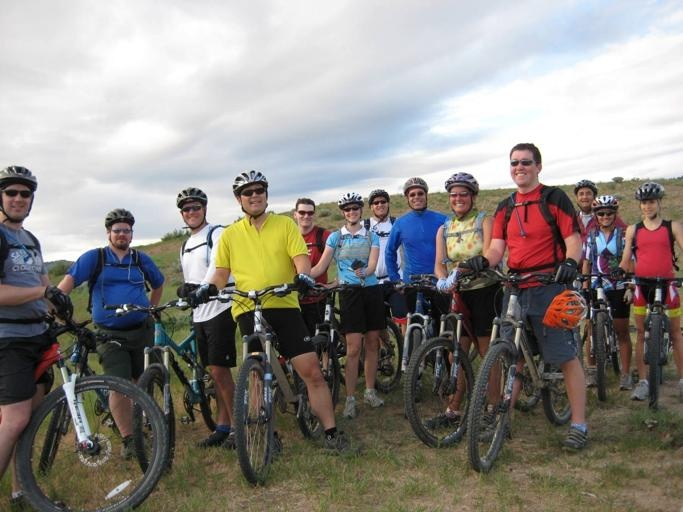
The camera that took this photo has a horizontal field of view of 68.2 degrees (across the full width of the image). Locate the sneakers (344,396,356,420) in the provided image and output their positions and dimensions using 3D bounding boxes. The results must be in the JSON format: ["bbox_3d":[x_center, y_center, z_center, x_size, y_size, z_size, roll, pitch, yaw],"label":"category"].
[{"bbox_3d":[0.133,2.415,8.006,0.131,0.411,0.177,-2,-10,-5],"label":"sneakers"}]

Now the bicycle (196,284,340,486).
[{"bbox_3d":[-1.024,1.492,5.998,0.803,2.295,0.871,-4,3,-25],"label":"bicycle"}]

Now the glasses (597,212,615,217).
[{"bbox_3d":[4.816,-0.740,9.187,0.260,0.090,0.123,-1,3,29],"label":"glasses"}]

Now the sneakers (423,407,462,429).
[{"bbox_3d":[1.412,2.200,6.897,0.603,0.299,0.210,3,-3,-15],"label":"sneakers"}]

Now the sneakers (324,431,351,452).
[{"bbox_3d":[-0.068,2.510,6.682,0.185,0.262,0.598,-2,-33,-9],"label":"sneakers"}]

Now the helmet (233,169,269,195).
[{"bbox_3d":[-1.119,-0.865,6.092,0.381,0.261,0.352,-3,3,-7],"label":"helmet"}]

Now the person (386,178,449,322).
[{"bbox_3d":[1.401,0.334,8.631,1.149,3.272,0.917,-3,16,11],"label":"person"}]

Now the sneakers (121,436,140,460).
[{"bbox_3d":[-2.487,2.268,5.935,0.182,0.194,0.189,-21,-18,-3],"label":"sneakers"}]

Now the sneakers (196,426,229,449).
[{"bbox_3d":[-1.850,2.547,7.106,0.478,0.233,0.175,2,-11,-9],"label":"sneakers"}]

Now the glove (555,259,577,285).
[{"bbox_3d":[2.563,0.180,5.706,0.188,0.269,0.401,-1,4,37],"label":"glove"}]

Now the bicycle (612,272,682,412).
[{"bbox_3d":[4.884,1.252,7.962,0.823,2.097,1.529,-1,3,30],"label":"bicycle"}]

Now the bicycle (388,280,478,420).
[{"bbox_3d":[1.218,1.147,8.581,1.140,1.602,2.412,15,7,9],"label":"bicycle"}]

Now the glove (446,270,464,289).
[{"bbox_3d":[1.469,0.276,6.542,0.071,0.253,0.148,35,-13,-35],"label":"glove"}]

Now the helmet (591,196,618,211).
[{"bbox_3d":[4.807,-0.943,9.173,0.389,0.258,0.338,-2,3,23],"label":"helmet"}]

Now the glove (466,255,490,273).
[{"bbox_3d":[1.614,0.107,6.010,0.286,0.194,0.201,-3,3,5],"label":"glove"}]

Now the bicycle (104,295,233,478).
[{"bbox_3d":[-2.528,1.596,7.000,1.176,1.669,2.452,-8,-8,5],"label":"bicycle"}]

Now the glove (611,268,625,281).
[{"bbox_3d":[4.322,0.304,7.871,0.221,0.201,0.254,-1,3,35],"label":"glove"}]

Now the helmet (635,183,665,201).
[{"bbox_3d":[5.246,-1.065,8.522,0.284,0.198,0.424,-3,5,42],"label":"helmet"}]

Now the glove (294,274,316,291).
[{"bbox_3d":[-0.410,0.303,5.707,0.262,0.188,0.166,-4,3,-17],"label":"glove"}]

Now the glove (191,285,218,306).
[{"bbox_3d":[-1.581,0.457,5.828,0.249,0.215,0.395,-2,3,11],"label":"glove"}]
